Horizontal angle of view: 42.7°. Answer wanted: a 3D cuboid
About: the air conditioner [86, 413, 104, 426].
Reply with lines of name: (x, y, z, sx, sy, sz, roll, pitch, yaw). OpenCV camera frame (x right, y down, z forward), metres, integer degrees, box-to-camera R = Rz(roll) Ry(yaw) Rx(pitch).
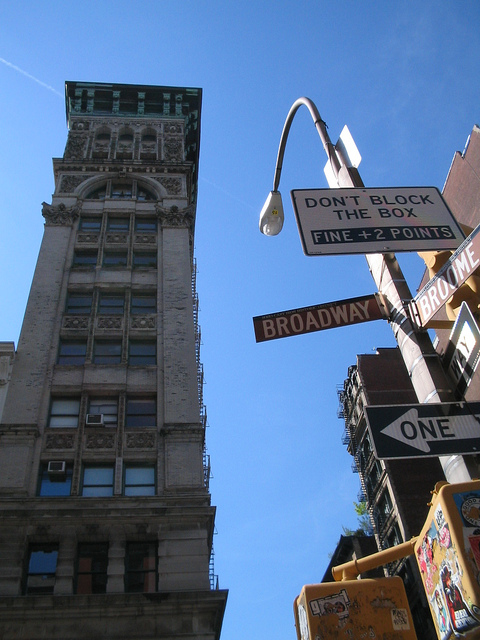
air conditioner: (-5.882, 4.014, 24.816, 0.714, 0.543, 0.404, -1, -51, -3)

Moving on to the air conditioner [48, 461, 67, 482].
air conditioner: (-6.830, 5.595, 22.994, 0.640, 0.651, 0.697, -1, -40, -3)
